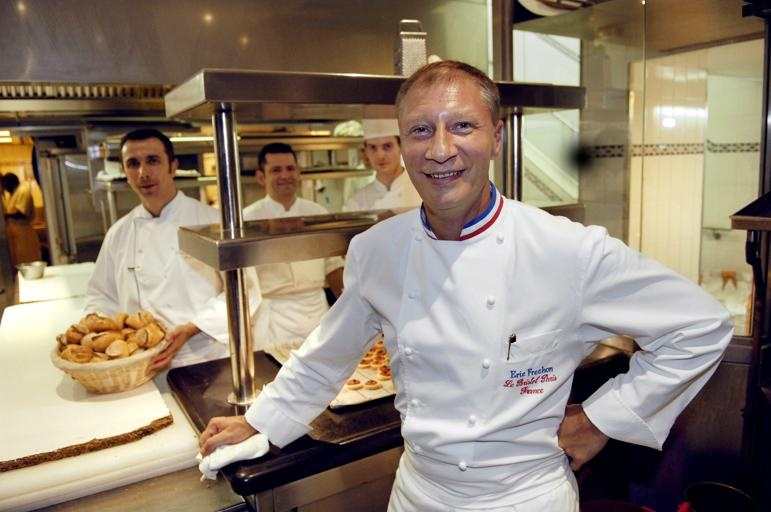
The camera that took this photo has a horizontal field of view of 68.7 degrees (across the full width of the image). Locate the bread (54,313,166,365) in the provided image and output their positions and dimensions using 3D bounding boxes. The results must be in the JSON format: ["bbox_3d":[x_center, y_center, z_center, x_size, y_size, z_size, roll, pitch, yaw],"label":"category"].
[{"bbox_3d":[-1.132,0.270,2.352,0.371,0.199,0.357,6,11,36],"label":"bread"}]

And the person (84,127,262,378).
[{"bbox_3d":[-1.216,-0.038,2.986,0.947,1.268,0.716,-6,4,10],"label":"person"}]

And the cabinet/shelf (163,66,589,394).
[{"bbox_3d":[-0.054,-0.103,2.289,1.759,1.428,0.602,-10,20,-30],"label":"cabinet/shelf"}]

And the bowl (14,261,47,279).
[{"bbox_3d":[-2.636,0.104,4.182,0.148,0.078,0.158,-2,-2,0],"label":"bowl"}]
